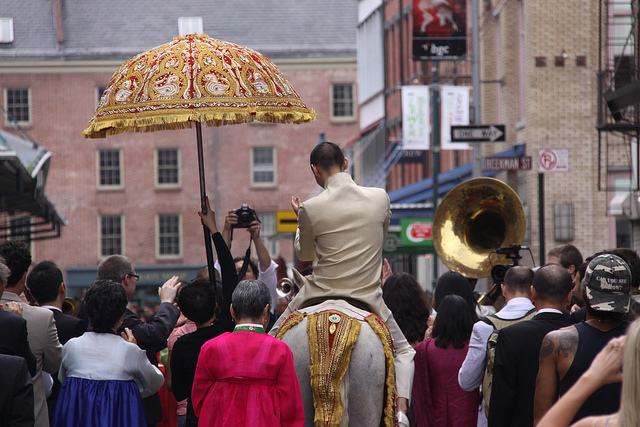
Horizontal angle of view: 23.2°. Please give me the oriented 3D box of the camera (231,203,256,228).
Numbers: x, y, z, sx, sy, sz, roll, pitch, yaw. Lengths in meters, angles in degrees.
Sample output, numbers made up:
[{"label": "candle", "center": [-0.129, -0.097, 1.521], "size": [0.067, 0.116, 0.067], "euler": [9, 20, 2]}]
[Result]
[{"label": "camera", "center": [-1.953, 0.125, 39.316], "size": [0.710, 0.740, 0.518], "euler": [0, -5, -5]}]

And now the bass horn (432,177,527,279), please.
[{"label": "bass horn", "center": [4.192, 0.325, 42.140], "size": [2.560, 2.677, 0.831], "euler": [-26, -7, 16]}]
